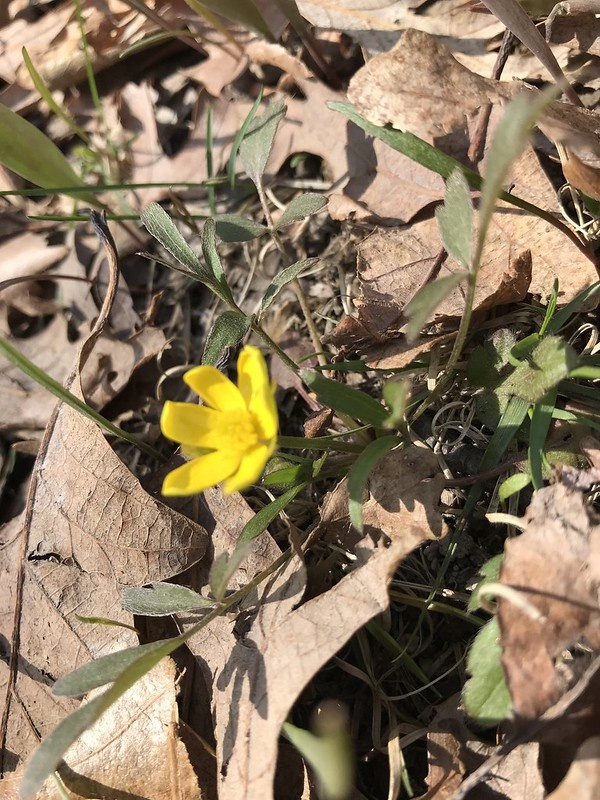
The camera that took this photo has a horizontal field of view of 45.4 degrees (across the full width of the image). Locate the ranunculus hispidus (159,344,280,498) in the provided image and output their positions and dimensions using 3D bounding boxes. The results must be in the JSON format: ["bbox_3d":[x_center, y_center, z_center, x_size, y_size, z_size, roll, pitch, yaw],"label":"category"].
[{"bbox_3d":[-0.137,0.084,1.692,0.342,0.144,0.337,-27,56,29],"label":"ranunculus hispidus"}]
